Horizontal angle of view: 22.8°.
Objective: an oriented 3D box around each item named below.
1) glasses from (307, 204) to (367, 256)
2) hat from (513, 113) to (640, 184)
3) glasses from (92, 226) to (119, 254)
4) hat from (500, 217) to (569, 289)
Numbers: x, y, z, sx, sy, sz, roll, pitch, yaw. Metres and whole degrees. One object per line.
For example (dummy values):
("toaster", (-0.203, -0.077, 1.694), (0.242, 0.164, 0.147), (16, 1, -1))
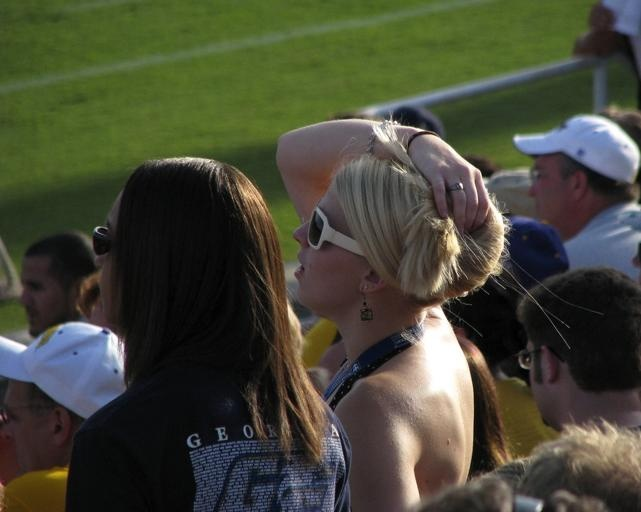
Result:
("glasses", (0.051, -0.091, 6.078), (0.199, 0.080, 0.173), (23, 9, -15))
("hat", (1.305, -0.543, 7.851), (0.469, 0.179, 0.298), (30, 15, 37))
("glasses", (-0.814, -0.066, 5.875), (0.097, 0.040, 0.093), (18, 11, -16))
("hat", (0.979, -0.028, 7.396), (0.392, 0.217, 0.276), (16, 22, 24))
